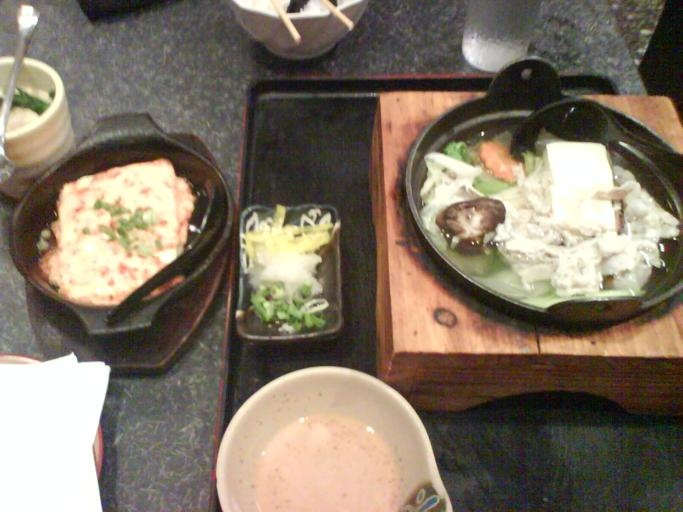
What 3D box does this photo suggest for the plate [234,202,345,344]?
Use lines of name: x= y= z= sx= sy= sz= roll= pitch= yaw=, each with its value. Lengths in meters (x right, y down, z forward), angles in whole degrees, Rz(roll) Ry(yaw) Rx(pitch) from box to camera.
plate: x=-0.149 y=0.061 z=1.827 sx=0.303 sy=0.143 sz=0.471 roll=-2 pitch=52 yaw=-6

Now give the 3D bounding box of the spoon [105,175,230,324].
spoon: x=-0.446 y=0.003 z=1.693 sx=0.064 sy=0.254 sz=0.417 roll=30 pitch=62 yaw=-8
